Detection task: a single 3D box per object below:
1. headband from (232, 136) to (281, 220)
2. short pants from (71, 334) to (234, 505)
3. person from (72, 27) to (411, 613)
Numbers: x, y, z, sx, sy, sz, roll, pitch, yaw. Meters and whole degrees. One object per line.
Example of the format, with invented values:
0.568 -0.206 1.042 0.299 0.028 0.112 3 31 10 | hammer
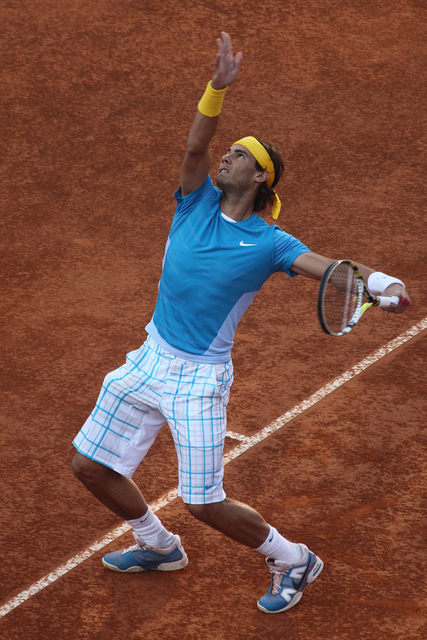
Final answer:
0.180 -0.566 2.538 0.263 0.351 0.126 38 58 25 | headband
-0.179 0.358 2.480 0.724 0.589 0.258 13 1 33 | short pants
-0.081 0.246 2.441 1.013 2.000 1.448 -9 51 -11 | person
